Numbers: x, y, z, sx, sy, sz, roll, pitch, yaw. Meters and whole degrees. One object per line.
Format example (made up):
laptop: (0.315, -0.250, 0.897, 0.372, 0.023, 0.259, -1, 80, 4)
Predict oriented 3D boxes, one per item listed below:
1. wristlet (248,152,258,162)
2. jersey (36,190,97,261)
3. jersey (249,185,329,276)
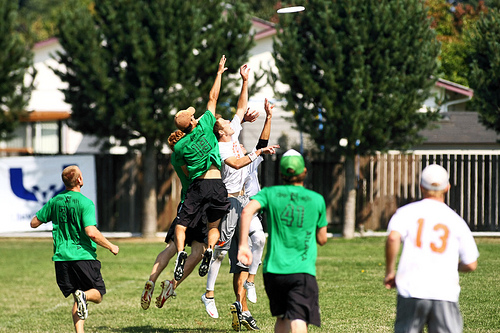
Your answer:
wristlet: (0.069, -0.255, 24.162, 0.232, 0.214, 0.468, 1, -1, 0)
jersey: (-4.306, 1.288, 23.768, 1.595, 1.693, 0.831, 4, 14, 15)
jersey: (0.793, 1.294, 22.635, 1.773, 2.097, 0.941, 6, 14, 2)
